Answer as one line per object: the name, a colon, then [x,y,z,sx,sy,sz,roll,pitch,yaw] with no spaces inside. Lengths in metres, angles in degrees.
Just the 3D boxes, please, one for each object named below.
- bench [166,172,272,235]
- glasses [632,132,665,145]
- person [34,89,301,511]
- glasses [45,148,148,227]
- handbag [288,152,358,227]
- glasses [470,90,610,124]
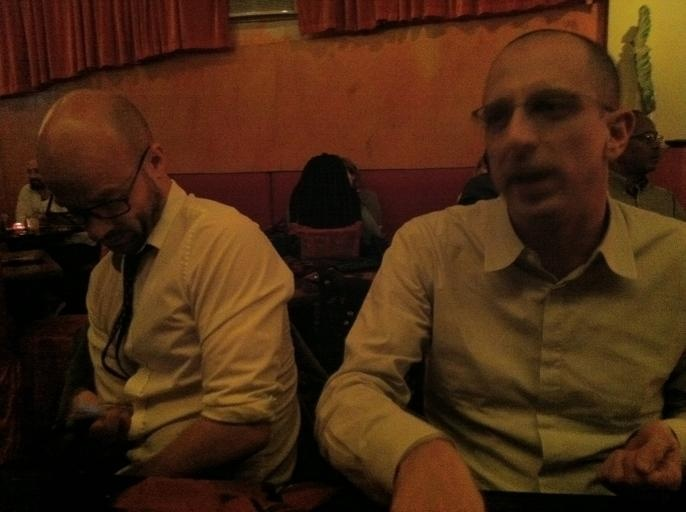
bench: [-0.352,-0.191,2.082,0.235,0.231,0.129,1,30,0]
glasses: [0.935,-0.360,2.217,0.065,0.027,0.049,6,8,33]
person: [-0.451,0.105,1.921,0.639,1.063,0.443,-1,15,-1]
glasses: [-0.631,-0.202,1.850,0.173,0.186,0.054,-4,-30,35]
handbag: [-0.057,-0.212,2.297,0.217,0.212,0.126,2,16,3]
glasses: [0.448,-0.333,1.609,0.312,0.084,0.080,3,16,10]
